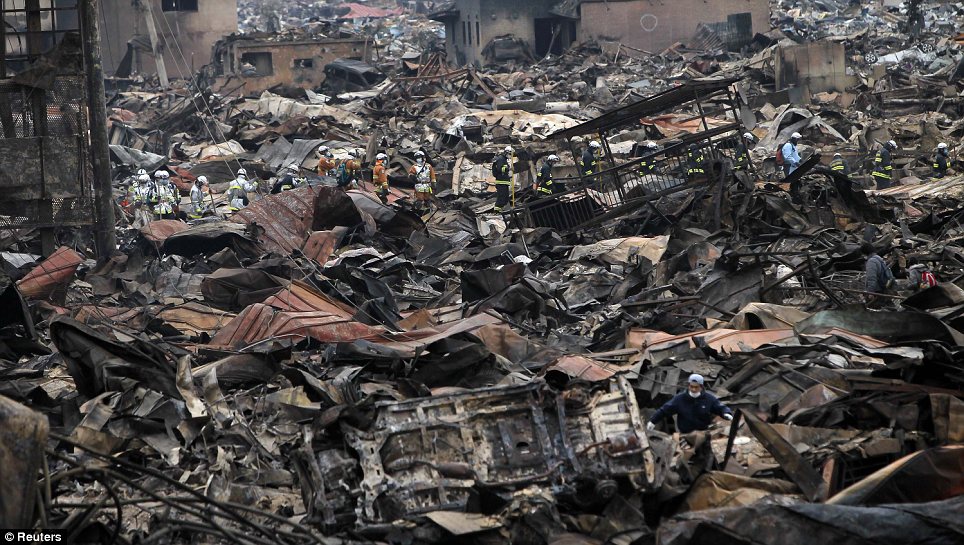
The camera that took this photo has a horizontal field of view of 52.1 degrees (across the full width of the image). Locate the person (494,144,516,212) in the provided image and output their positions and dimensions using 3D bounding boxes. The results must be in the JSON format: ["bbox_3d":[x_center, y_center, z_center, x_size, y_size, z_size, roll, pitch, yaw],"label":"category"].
[{"bbox_3d":[0.680,-2.885,29.573,0.549,1.344,1.021,-2,-2,1],"label":"person"}]

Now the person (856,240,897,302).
[{"bbox_3d":[9.118,-0.042,22.586,0.703,1.314,2.176,-3,-2,21],"label":"person"}]

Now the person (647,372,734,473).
[{"bbox_3d":[4.068,2.643,19.325,1.591,1.130,0.948,-3,16,8],"label":"person"}]

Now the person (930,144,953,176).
[{"bbox_3d":[13.905,-3.408,29.685,0.420,0.951,0.986,-3,-2,24],"label":"person"}]
